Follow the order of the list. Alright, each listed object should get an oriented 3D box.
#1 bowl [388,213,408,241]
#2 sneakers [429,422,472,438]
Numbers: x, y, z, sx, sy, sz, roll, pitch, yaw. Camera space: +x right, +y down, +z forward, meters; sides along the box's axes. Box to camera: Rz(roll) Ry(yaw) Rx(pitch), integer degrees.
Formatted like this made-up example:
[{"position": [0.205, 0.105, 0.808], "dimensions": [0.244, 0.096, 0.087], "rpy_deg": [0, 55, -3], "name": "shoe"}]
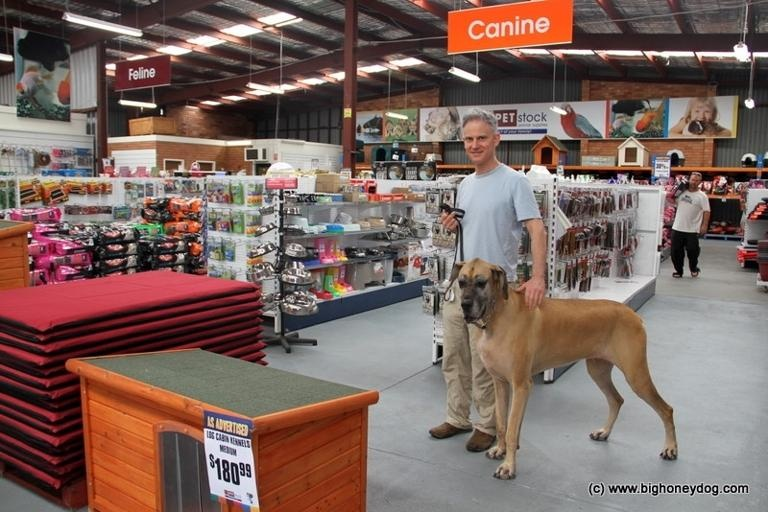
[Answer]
[{"position": [0.226, -0.457, 7.985], "dimensions": [0.466, 0.342, 0.376], "rpy_deg": [-2, 0, 0], "name": "bowl"}, {"position": [0.540, 1.350, 3.873], "dimensions": [0.346, 0.104, 0.110], "rpy_deg": [2, -2, -15], "name": "sneakers"}]
